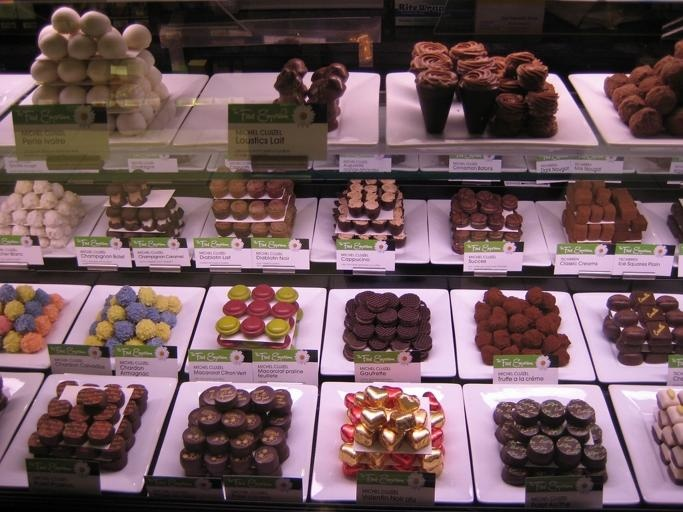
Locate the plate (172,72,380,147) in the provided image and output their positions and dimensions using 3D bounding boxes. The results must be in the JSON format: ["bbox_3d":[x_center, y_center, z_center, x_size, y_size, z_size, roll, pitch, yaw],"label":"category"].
[{"bbox_3d":[-0.280,-0.447,1.724,0.442,0.056,0.367,0,39,4],"label":"plate"}]

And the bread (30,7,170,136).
[{"bbox_3d":[-0.663,-0.571,1.719,0.472,0.415,0.362,2,30,0],"label":"bread"}]

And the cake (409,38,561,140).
[{"bbox_3d":[0.446,-0.549,1.674,0.450,0.170,0.404,3,47,4],"label":"cake"}]

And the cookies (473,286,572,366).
[{"bbox_3d":[0.758,0.285,2.253,0.382,0.114,0.369,4,46,4],"label":"cookies"}]

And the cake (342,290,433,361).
[{"bbox_3d":[0.198,0.291,2.247,0.378,0.142,0.315,1,47,1],"label":"cake"}]

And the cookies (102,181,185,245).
[{"bbox_3d":[-0.864,-0.222,2.406,0.303,0.256,0.259,-2,20,-9],"label":"cookies"}]

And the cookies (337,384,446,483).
[{"bbox_3d":[0.173,0.613,1.899,0.357,0.193,0.334,1,25,3],"label":"cookies"}]

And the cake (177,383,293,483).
[{"bbox_3d":[-0.370,0.618,1.916,0.355,0.184,0.305,0,47,1],"label":"cake"}]

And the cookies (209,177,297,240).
[{"bbox_3d":[-0.393,-0.234,2.408,0.363,0.218,0.285,-7,48,-6],"label":"cookies"}]

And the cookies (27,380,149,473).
[{"bbox_3d":[-0.918,0.583,1.942,0.326,0.196,0.328,3,47,4],"label":"cookies"}]

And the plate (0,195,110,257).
[{"bbox_3d":[-1.153,-0.151,2.326,0.312,0.062,0.387,5,39,2],"label":"plate"}]

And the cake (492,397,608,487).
[{"bbox_3d":[0.742,0.633,1.885,0.358,0.190,0.297,1,47,2],"label":"cake"}]

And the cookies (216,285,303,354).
[{"bbox_3d":[-0.343,0.254,2.310,0.340,0.108,0.338,0,35,4],"label":"cookies"}]

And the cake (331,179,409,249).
[{"bbox_3d":[0.134,-0.219,2.416,0.346,0.319,0.381,-1,47,0],"label":"cake"}]

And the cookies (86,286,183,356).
[{"bbox_3d":[-0.860,0.275,2.257,0.313,0.120,0.263,12,47,-2],"label":"cookies"}]

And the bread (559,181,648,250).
[{"bbox_3d":[1.145,-0.179,2.387,0.325,0.184,0.289,0,33,0],"label":"bread"}]
